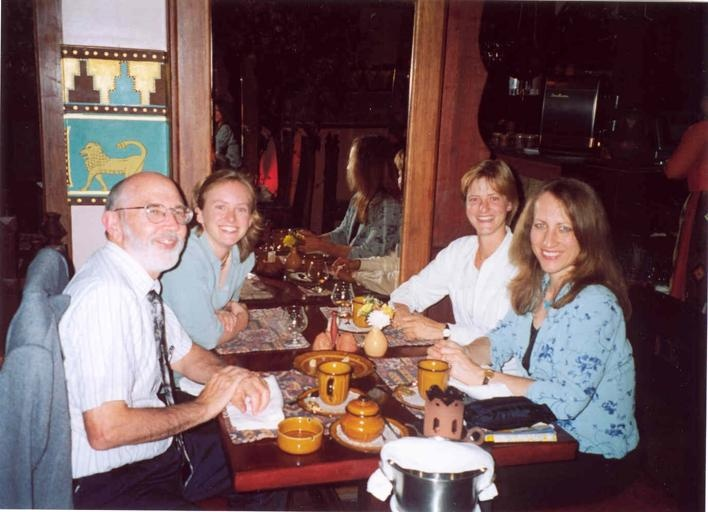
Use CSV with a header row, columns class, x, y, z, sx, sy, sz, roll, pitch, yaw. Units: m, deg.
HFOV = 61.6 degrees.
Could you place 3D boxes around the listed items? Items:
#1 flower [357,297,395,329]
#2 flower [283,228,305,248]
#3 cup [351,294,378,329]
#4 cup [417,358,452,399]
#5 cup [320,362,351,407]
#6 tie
class,x,y,z,sx,sy,sz,roll,pitch,yaw
flower,0.084,0.293,2.859,0.174,0.116,0.154,6,13,22
flower,-0.375,-0.108,3.837,0.118,0.109,0.031,-13,-24,30
cup,0.054,0.290,3.004,0.139,0.152,0.145,2,3,0
cup,0.316,0.482,2.412,0.151,0.159,0.155,-1,3,0
cup,-0.081,0.525,2.366,0.124,0.131,0.151,1,-2,7
tie,-0.763,0.480,2.495,0.126,0.936,0.129,-8,-4,-38
